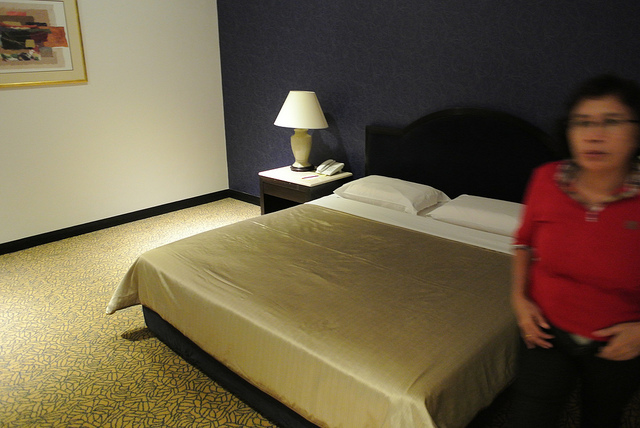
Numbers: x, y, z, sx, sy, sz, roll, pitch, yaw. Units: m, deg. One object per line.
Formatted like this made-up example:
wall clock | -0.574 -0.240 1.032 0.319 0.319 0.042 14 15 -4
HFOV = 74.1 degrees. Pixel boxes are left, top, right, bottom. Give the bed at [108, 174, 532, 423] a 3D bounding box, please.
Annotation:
bed | 0.508 0.393 2.693 1.883 0.388 1.981 16 24 39

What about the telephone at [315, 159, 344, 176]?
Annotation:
telephone | 0.115 -0.478 4.299 0.205 0.057 0.201 20 35 41
